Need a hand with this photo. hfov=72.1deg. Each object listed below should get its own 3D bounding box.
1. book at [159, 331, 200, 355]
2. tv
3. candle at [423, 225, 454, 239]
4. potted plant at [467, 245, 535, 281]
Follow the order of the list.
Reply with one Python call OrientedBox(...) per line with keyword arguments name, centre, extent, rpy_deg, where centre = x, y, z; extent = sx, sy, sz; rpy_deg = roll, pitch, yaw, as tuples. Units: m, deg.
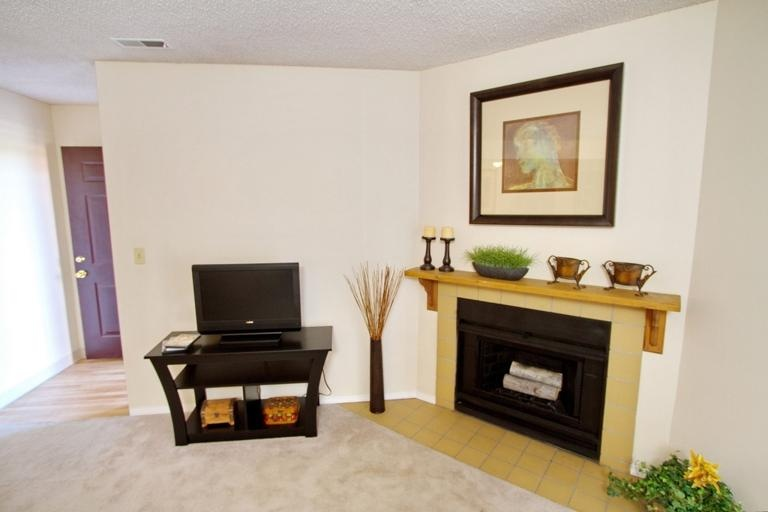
OrientedBox(name="book", centre=(-1.731, 0.729, 4.511), extent=(0.280, 0.102, 0.381), rpy_deg=(-2, 5, -5))
OrientedBox(name="tv", centre=(-1.202, 0.404, 4.564), extent=(0.699, 0.508, 0.197), rpy_deg=(-1, 4, -5))
OrientedBox(name="candle", centre=(0.491, -0.210, 4.717), extent=(0.263, 0.114, 0.231), rpy_deg=(0, 5, 13))
OrientedBox(name="potted plant", centre=(0.996, 0.074, 4.589), extent=(0.357, 0.303, 0.527), rpy_deg=(0, -7, -25))
